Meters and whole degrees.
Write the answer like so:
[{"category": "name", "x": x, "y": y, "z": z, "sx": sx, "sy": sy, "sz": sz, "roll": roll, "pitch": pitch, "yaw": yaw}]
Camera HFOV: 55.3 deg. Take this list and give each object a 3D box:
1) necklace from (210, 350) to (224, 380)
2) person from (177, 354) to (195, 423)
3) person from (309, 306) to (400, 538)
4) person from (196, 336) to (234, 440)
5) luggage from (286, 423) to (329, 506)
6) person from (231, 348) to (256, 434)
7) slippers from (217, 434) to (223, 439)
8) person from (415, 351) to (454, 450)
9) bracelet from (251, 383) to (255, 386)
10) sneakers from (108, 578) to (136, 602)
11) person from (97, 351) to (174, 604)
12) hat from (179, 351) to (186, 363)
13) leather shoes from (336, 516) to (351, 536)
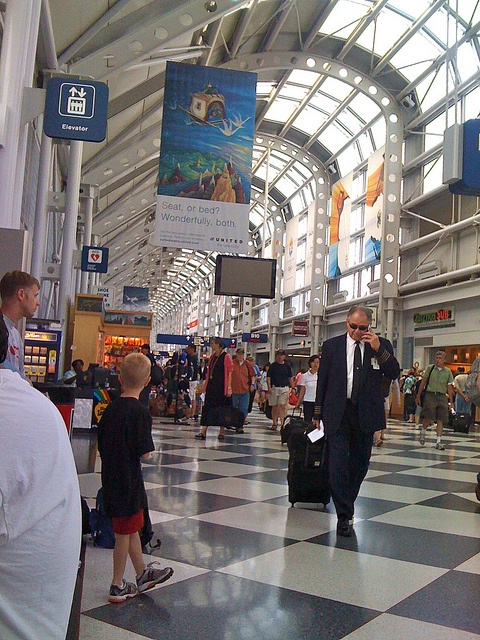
[{"category": "necklace", "x": -0.420, "y": 0.820, "z": 8.155, "sx": 0.331, "sy": 0.468, "sz": 0.125, "roll": -1, "pitch": -7, "yaw": 39}, {"category": "person", "x": -1.280, "y": 1.582, "z": 11.069, "sx": 0.406, "sy": 1.667, "sz": 1.121, "roll": 4, "pitch": -5, "yaw": -7}, {"category": "person", "x": 0.851, "y": 0.672, "z": 3.416, "sx": 0.601, "sy": 1.551, "sz": 0.492, "roll": 2, "pitch": -5, "yaw": 12}, {"category": "person", "x": -0.421, "y": 1.233, "z": 8.150, "sx": 0.579, "sy": 1.765, "sz": 1.021, "roll": 4, "pitch": -5, "yaw": -8}, {"category": "luggage", "x": 0.540, "y": 1.267, "z": 4.273, "sx": 0.452, "sy": 0.922, "sz": 0.577, "roll": -1, "pitch": -3, "yaw": 4}, {"category": "person", "x": 0.046, "y": 1.266, "z": 9.401, "sx": 0.454, "sy": 1.327, "sz": 1.225, "roll": 3, "pitch": -6, "yaw": 0}, {"category": "slippers", "x": -0.347, "y": 2.099, "z": 8.238, "sx": 0.070, "sy": 0.079, "sz": 0.056, "roll": 3, "pitch": -23, "yaw": -2}, {"category": "person", "x": 3.782, "y": 1.536, "z": 8.951, "sx": 0.609, "sy": 1.796, "sz": 1.497, "roll": 1, "pitch": -6, "yaw": 25}, {"category": "bracelet", "x": 0.265, "y": 1.345, "z": 9.468, "sx": 0.058, "sy": 0.069, "sz": 0.061, "roll": 5, "pitch": 10, "yaw": 2}, {"category": "sneakers", "x": -0.475, "y": 1.108, "z": 1.895, "sx": 0.050, "sy": 0.069, "sz": 0.134, "roll": -1, "pitch": -6, "yaw": 25}, {"category": "person", "x": -0.459, "y": 0.662, "z": 2.014, "sx": 0.293, "sy": 1.015, "sz": 0.261, "roll": -1, "pitch": -7, "yaw": 40}, {"category": "hat", "x": -1.364, "y": 0.900, "z": 10.970, "sx": 0.140, "sy": 0.226, "sz": 0.118, "roll": -4, "pitch": -15, "yaw": 12}, {"category": "leather shoes", "x": 0.709, "y": 1.420, "z": 3.140, "sx": 0.050, "sy": 0.073, "sz": 0.161, "roll": 0, "pitch": -9, "yaw": 4}]
